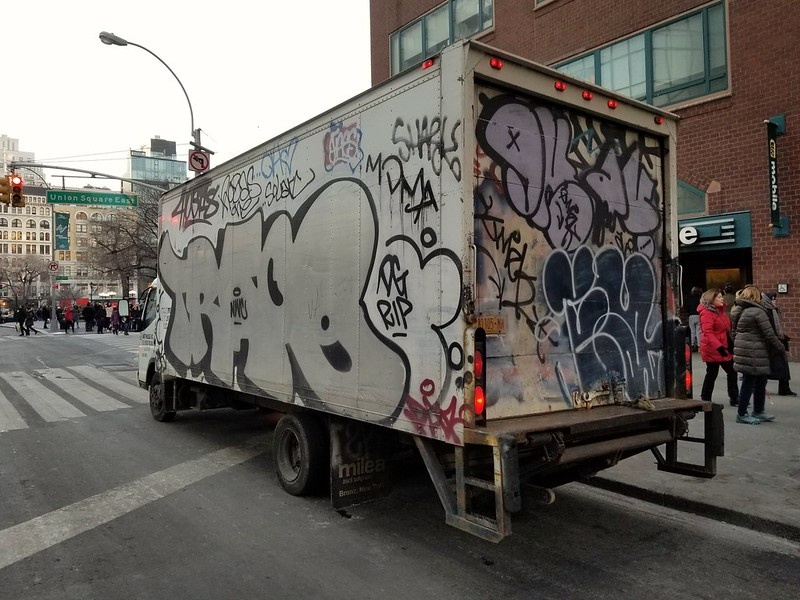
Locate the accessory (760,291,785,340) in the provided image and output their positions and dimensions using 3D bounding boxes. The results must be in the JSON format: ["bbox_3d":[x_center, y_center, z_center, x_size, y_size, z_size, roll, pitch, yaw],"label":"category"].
[{"bbox_3d":[6.467,0.287,11.179,0.499,0.371,0.741,6,-23,25],"label":"accessory"}]

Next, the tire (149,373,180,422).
[{"bbox_3d":[-3.979,1.622,10.885,0.242,0.991,0.732,0,-9,-37],"label":"tire"}]

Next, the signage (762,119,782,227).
[{"bbox_3d":[8.565,-2.892,14.762,0.390,2.457,0.495,-1,8,1],"label":"signage"}]

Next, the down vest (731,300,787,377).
[{"bbox_3d":[5.409,0.593,9.767,0.694,1.167,0.511,4,10,31],"label":"down vest"}]

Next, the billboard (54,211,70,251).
[{"bbox_3d":[-16.984,-3.371,32.331,0.694,1.914,0.031,0,4,-14],"label":"billboard"}]

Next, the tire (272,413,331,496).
[{"bbox_3d":[-1.237,1.846,7.810,0.291,1.013,0.839,0,-7,-42],"label":"tire"}]

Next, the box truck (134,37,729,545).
[{"bbox_3d":[-0.415,-0.119,8.674,3.436,4.005,6.838,3,-3,-38],"label":"box truck"}]
